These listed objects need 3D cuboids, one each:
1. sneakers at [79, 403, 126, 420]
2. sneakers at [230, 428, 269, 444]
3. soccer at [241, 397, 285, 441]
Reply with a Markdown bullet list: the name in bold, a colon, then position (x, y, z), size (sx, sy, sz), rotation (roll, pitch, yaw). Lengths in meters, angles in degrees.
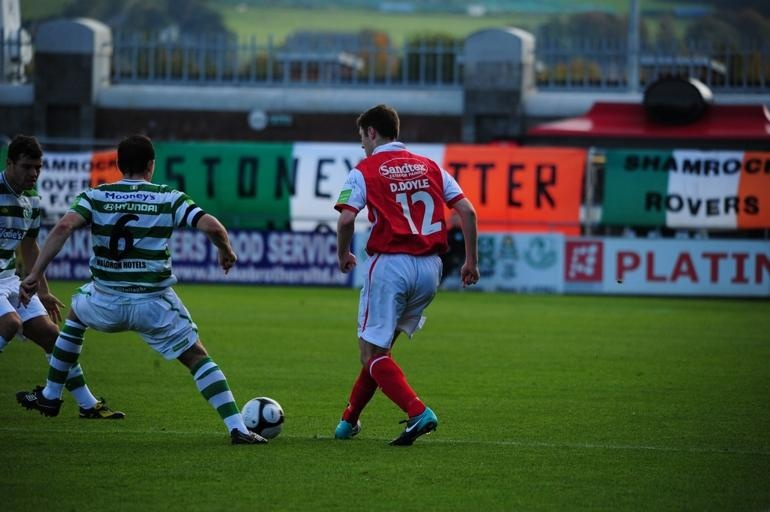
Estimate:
- **sneakers**: position (-2.498, 1.371, 14.031), size (0.454, 0.181, 0.150), rotation (0, 1, -7)
- **sneakers**: position (-1.115, 1.514, 13.262), size (0.322, 0.119, 0.115), rotation (-2, 7, -13)
- **soccer**: position (-0.987, 1.363, 13.520), size (0.318, 0.301, 0.313), rotation (-20, -15, 7)
